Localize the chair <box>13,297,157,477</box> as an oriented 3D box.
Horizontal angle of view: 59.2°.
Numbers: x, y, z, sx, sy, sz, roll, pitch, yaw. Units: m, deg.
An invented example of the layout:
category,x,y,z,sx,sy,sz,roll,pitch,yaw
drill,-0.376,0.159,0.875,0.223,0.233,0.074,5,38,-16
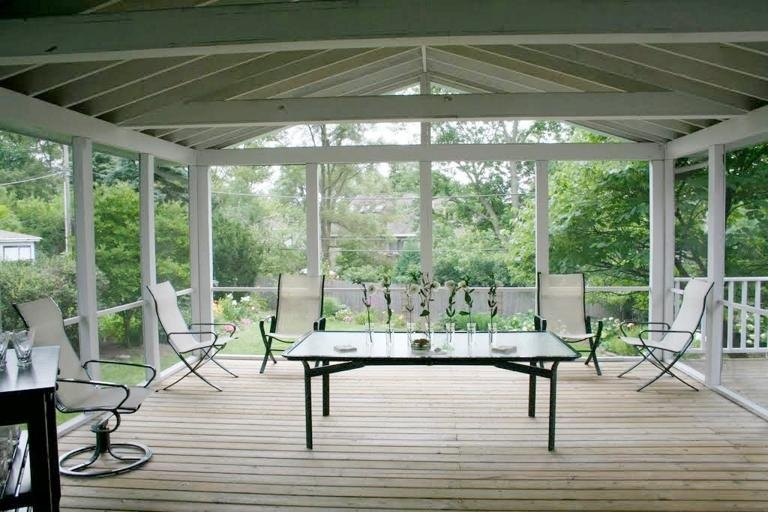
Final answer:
category,x,y,z,sx,sy,sz,roll,pitch,yaw
chair,-2.845,1.276,6.669,1.200,1.442,0.908,4,2,3
